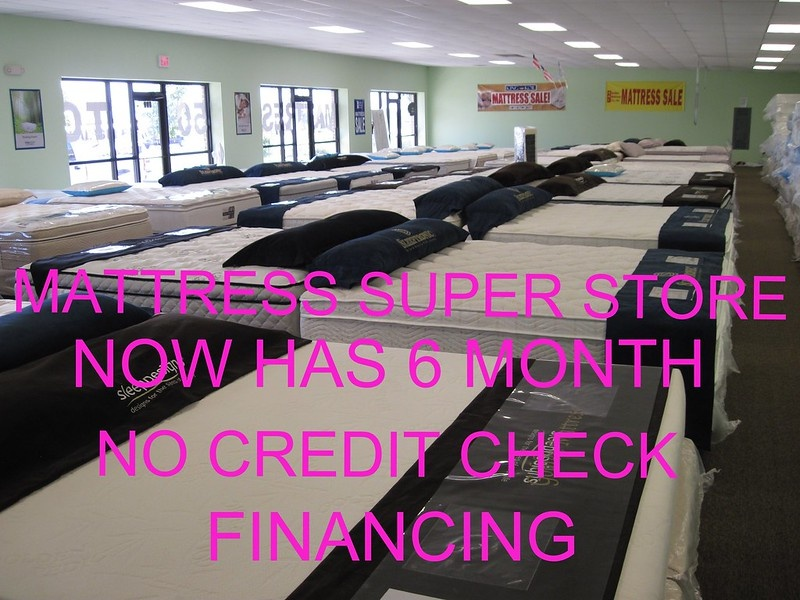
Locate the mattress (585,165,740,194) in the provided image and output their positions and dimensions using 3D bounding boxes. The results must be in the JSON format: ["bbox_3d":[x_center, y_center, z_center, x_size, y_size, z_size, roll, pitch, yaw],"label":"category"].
[{"bbox_3d":[3.523,-1.636,6.515,1.687,0.231,1.127,5,16,19],"label":"mattress"}]

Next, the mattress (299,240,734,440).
[{"bbox_3d":[0.498,0.174,2.136,1.178,0.278,1.092,5,9,29],"label":"mattress"}]

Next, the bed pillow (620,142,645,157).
[{"bbox_3d":[5.216,-3.347,10.703,0.585,0.155,0.539,14,35,6],"label":"bed pillow"}]

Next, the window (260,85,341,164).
[{"bbox_3d":[-2.502,-4.356,12.166,2.994,1.805,0.212,15,25,37],"label":"window"}]

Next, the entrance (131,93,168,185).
[{"bbox_3d":[-4.629,-3.034,8.844,0.788,1.477,0.109,4,8,24],"label":"entrance"}]

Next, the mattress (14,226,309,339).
[{"bbox_3d":[-1.230,-0.208,3.215,1.253,0.306,1.193,6,15,30],"label":"mattress"}]
